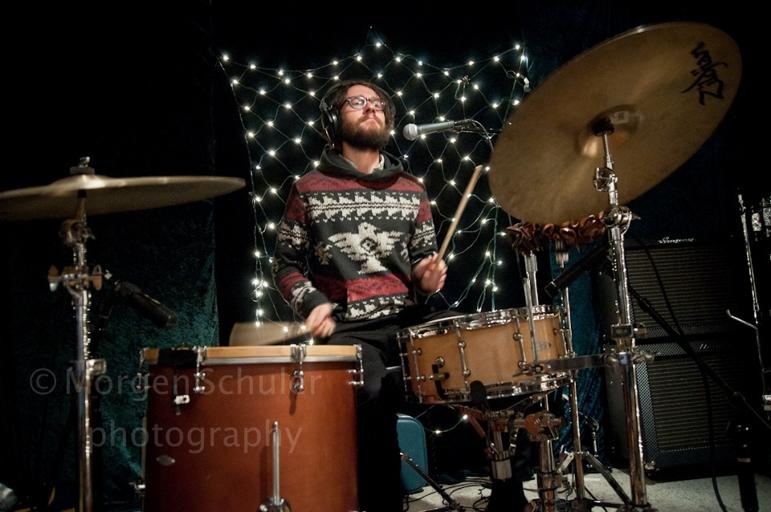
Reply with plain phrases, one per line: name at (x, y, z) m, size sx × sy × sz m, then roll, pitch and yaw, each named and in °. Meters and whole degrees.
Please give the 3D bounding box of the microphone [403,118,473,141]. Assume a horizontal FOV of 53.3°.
microphone at (0.277, -0.686, 4.116) m, size 0.358 × 0.122 × 0.176 m, roll -5°, pitch -14°, yaw 3°

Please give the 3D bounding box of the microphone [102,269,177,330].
microphone at (-1.345, 0.241, 4.136) m, size 0.428 × 0.129 × 0.101 m, roll 34°, pitch 19°, yaw 7°

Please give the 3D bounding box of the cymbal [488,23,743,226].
cymbal at (1.019, -0.607, 3.546) m, size 0.945 × 0.222 × 0.951 m, roll -2°, pitch -46°, yaw -20°

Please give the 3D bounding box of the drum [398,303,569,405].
drum at (0.442, 0.478, 3.634) m, size 0.775 × 0.409 × 0.310 m, roll -9°, pitch -15°, yaw 16°
